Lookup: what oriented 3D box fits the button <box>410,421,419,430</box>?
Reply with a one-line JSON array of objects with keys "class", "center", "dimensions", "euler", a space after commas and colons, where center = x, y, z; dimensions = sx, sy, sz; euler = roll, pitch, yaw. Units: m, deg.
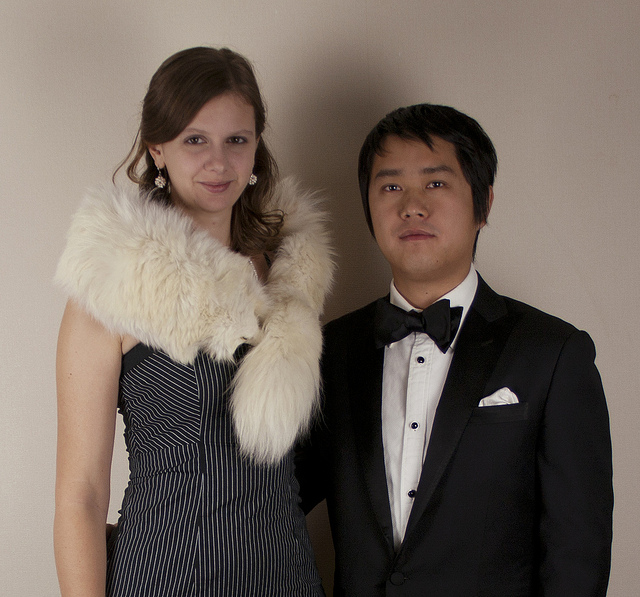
[{"class": "button", "center": [0.280, 0.374, 2.273], "dimensions": [0.025, 0.022, 0.012], "euler": [1, 10, -21]}]

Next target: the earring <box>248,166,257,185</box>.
[{"class": "earring", "center": [-0.219, -0.385, 2.482], "dimensions": [0.024, 0.060, 0.033], "euler": [6, 8, 18]}]

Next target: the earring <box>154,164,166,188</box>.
[{"class": "earring", "center": [-0.486, -0.372, 2.341], "dimensions": [0.040, 0.083, 0.050], "euler": [2, 32, -3]}]

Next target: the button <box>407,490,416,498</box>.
[{"class": "button", "center": [0.266, 0.563, 2.231], "dimensions": [0.018, 0.020, 0.006], "euler": [-28, -16, 22]}]

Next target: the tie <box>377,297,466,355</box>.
[{"class": "tie", "center": [0.294, 0.060, 2.330], "dimensions": [0.256, 0.178, 0.112], "euler": [1, 28, 14]}]
